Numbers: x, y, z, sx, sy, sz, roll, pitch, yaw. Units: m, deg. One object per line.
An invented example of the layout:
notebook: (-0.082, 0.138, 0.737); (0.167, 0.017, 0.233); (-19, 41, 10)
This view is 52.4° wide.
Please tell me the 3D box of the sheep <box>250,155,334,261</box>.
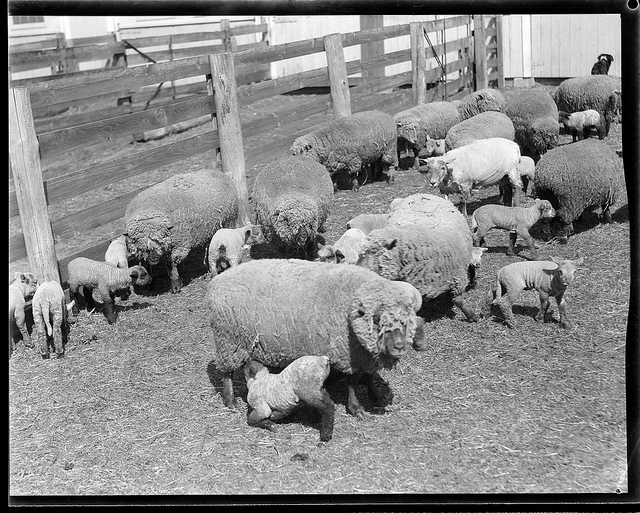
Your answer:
sheep: (-0.364, -0.670, 8.513); (1.002, 1.254, 2.003); (-5, 35, -5)

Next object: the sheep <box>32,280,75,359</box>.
sheep: (-2.727, 0.594, 6.636); (0.321, 0.678, 0.650); (-10, 22, -12)

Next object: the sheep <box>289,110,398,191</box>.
sheep: (0.508, -1.765, 11.281); (2.509, 1.303, 0.757); (-23, 28, -38)

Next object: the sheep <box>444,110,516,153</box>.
sheep: (2.822, -2.008, 10.990); (1.140, 0.609, 0.556); (-29, 17, -34)

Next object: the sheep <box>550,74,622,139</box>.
sheep: (6.043, -3.298, 14.596); (0.856, 1.307, 2.456); (-2, 12, -8)

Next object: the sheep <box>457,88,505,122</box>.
sheep: (3.478, -3.060, 13.161); (0.750, 0.692, 0.917); (-3, 1, -10)

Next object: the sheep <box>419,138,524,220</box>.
sheep: (2.277, -1.154, 9.573); (1.559, 1.016, 0.658); (-10, 19, -17)

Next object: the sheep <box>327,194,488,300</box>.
sheep: (1.124, -0.132, 7.140); (1.015, 0.874, 1.777); (-5, 20, 20)

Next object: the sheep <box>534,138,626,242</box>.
sheep: (3.504, -0.898, 8.734); (1.097, 1.101, 0.603); (-13, 23, -21)

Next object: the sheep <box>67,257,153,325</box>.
sheep: (-2.359, 0.372, 7.346); (0.964, 0.679, 0.360); (4, 22, 6)

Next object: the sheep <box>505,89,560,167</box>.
sheep: (3.963, -2.402, 12.445); (1.034, 1.350, 2.318); (2, 35, 11)

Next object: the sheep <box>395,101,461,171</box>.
sheep: (2.375, -2.460, 12.382); (0.669, 1.133, 2.321); (11, 22, 38)

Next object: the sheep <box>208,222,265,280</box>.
sheep: (-1.105, -0.084, 8.221); (0.347, 0.669, 1.287); (4, 10, 5)

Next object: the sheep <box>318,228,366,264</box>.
sheep: (0.257, -0.080, 6.946); (0.249, 0.347, 0.632); (2, 24, 26)

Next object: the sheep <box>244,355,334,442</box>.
sheep: (-0.251, 1.085, 5.147); (0.753, 0.621, 0.269); (2, 22, 18)

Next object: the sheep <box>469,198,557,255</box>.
sheep: (2.441, -0.352, 8.158); (1.035, 0.717, 0.346); (1, 13, 13)

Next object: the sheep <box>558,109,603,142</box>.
sheep: (5.204, -2.575, 12.953); (1.066, 0.589, 0.264); (-5, 2, -11)

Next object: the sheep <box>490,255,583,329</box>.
sheep: (2.296, 0.372, 6.810); (0.373, 0.746, 1.008); (-4, 4, -39)

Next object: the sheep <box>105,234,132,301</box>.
sheep: (-2.416, 0.058, 7.866); (0.215, 0.448, 0.822); (-6, 27, -9)
